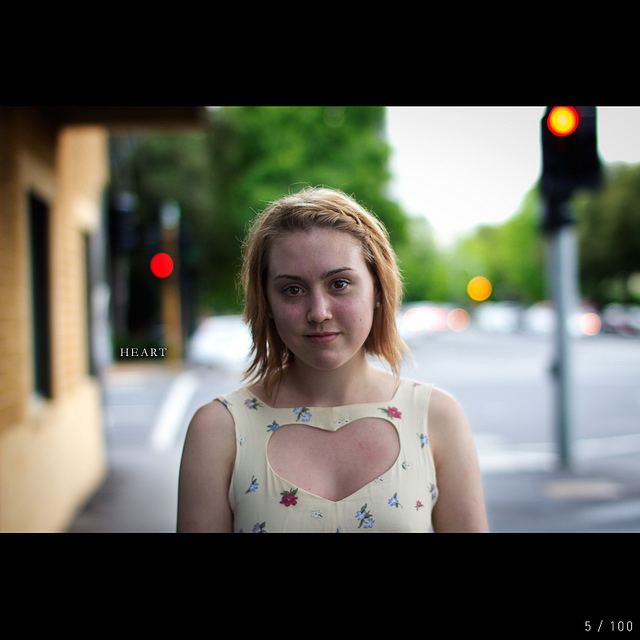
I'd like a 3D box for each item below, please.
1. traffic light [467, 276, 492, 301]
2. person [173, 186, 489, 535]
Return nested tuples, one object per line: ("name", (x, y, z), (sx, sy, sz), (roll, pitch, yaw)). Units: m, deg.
("traffic light", (2.923, -0.581, 14.200), (0.361, 0.442, 0.220), (7, 0, -8))
("person", (0.018, 0.127, 2.246), (0.884, 1.009, 0.329), (-2, 2, 9))
